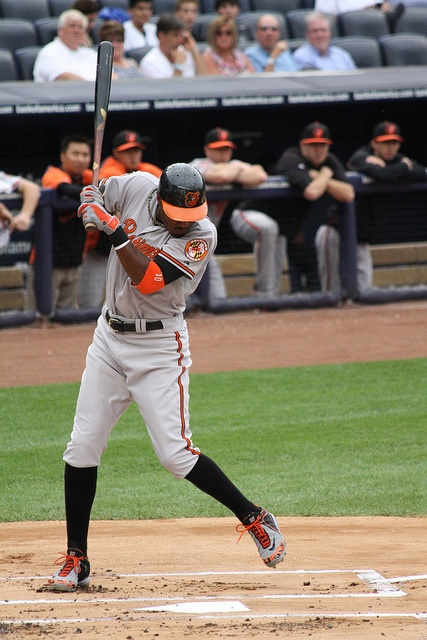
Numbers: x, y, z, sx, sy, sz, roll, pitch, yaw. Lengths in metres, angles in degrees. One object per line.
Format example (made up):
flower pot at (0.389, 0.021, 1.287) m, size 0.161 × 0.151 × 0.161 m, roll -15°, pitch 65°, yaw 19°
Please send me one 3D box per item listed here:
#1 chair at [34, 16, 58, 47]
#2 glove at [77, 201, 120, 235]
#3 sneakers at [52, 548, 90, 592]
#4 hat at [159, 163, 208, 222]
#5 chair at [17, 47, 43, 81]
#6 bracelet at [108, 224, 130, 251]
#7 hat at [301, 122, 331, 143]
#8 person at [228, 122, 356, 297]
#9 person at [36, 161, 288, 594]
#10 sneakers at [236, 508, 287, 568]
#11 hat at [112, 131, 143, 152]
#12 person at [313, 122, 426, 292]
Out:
chair at (-1.128, -1.956, 7.909) m, size 0.202 × 0.213 × 0.192 m, roll -4°, pitch 37°, yaw -11°
glove at (-0.362, -0.343, 3.786) m, size 0.105 × 0.052 × 0.123 m, roll 19°, pitch 20°, yaw -24°
sneakers at (-0.469, 0.837, 3.939) m, size 0.078 × 0.105 × 0.180 m, roll 0°, pitch -5°, yaw 23°
hat at (-0.103, -0.412, 3.827) m, size 0.153 × 0.186 × 0.142 m, roll -3°, pitch 10°, yaw -3°
chair at (-1.198, -1.668, 7.644) m, size 0.210 × 0.229 × 0.208 m, roll 2°, pitch 22°, yaw 0°
bracelet at (-0.300, -0.265, 3.752) m, size 0.057 × 0.056 × 0.080 m, roll 25°, pitch 31°, yaw -43°
hat at (0.573, -1.041, 6.558) m, size 0.163 × 0.116 × 0.169 m, roll -1°, pitch 10°, yaw 3°
person at (0.470, -0.655, 6.827) m, size 0.703 × 0.982 × 0.761 m, roll -8°, pitch 16°, yaw -41°
person at (-0.198, 0.177, 3.954) m, size 0.795 × 1.385 × 0.361 m, roll -4°, pitch 11°, yaw -8°
sneakers at (0.172, 0.740, 4.026) m, size 0.129 × 0.088 × 0.251 m, roll 14°, pitch 37°, yaw -49°
hat at (-0.480, -1.026, 6.743) m, size 0.197 × 0.115 × 0.163 m, roll -8°, pitch 11°, yaw -33°
person at (0.899, -0.655, 6.738) m, size 0.440 × 0.939 × 0.598 m, roll 7°, pitch 13°, yaw 40°
